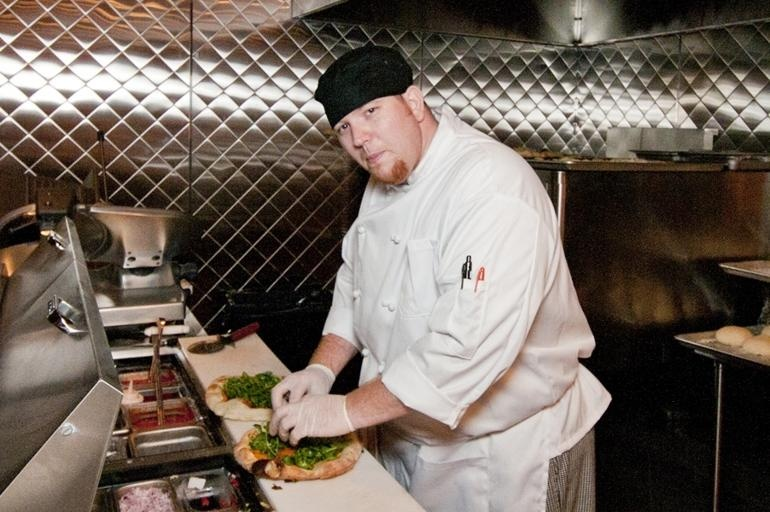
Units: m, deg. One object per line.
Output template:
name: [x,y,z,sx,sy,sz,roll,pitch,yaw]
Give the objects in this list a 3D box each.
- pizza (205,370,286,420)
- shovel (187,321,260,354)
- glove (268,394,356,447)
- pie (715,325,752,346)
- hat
pizza: [-0.516,0.512,2.086,0.178,0.072,0.203,2,8,-7]
shovel: [-0.727,0.379,2.613,0.105,0.034,0.296,14,17,31]
glove: [-0.226,0.491,1.718,0.281,0.139,0.084,-3,11,8]
pie: [1.626,0.377,2.684,0.107,0.052,0.104,-2,-2,-5]
hat: [-0.047,-0.524,1.852,0.296,0.188,0.215,-29,23,-11]
